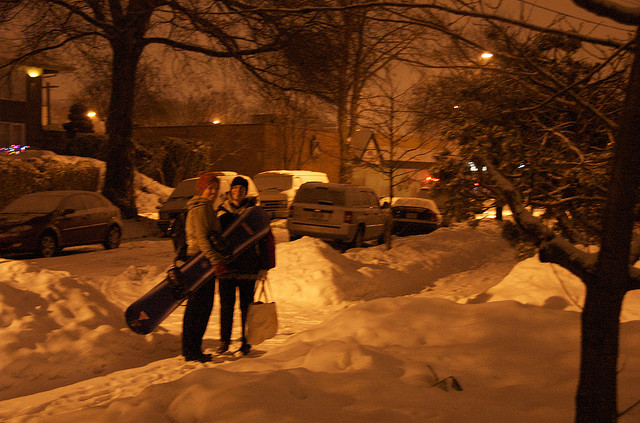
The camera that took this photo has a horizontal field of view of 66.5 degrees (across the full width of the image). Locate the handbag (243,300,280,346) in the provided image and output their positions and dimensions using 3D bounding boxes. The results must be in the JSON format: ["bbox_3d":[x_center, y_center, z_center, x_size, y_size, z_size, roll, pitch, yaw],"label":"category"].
[{"bbox_3d":[-0.869,1.595,7.091,0.749,0.525,0.196,-1,-2,-18],"label":"handbag"}]

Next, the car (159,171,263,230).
[{"bbox_3d":[-4.361,-0.489,16.793,2.454,1.607,4.163,-2,-1,31],"label":"car"}]

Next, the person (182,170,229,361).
[{"bbox_3d":[-1.568,0.763,6.535,0.641,2.557,0.517,-3,6,-14],"label":"person"}]

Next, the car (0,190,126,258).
[{"bbox_3d":[-7.685,0.268,14.533,1.992,1.015,2.991,-3,-5,28],"label":"car"}]

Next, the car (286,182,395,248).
[{"bbox_3d":[0.775,0.151,17.187,2.548,1.682,4.495,5,2,24],"label":"car"}]
